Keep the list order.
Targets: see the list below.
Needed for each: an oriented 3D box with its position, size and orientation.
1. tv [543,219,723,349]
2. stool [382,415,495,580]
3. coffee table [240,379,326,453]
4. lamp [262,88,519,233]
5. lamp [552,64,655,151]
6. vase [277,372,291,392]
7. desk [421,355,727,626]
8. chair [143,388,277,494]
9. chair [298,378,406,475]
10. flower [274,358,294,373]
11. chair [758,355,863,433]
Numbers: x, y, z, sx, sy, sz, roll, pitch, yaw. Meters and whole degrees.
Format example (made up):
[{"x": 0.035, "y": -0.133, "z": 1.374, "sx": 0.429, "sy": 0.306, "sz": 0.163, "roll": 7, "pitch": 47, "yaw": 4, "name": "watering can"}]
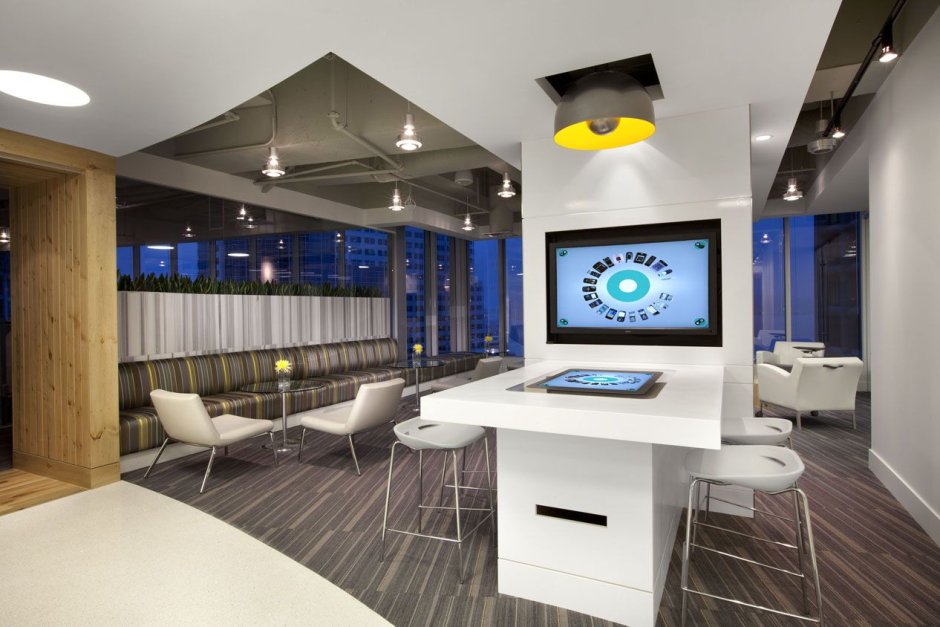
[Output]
[{"x": 1.460, "y": -0.271, "z": 4.865, "sx": 1.084, "sy": 0.780, "sz": 0.109, "roll": -1, "pitch": 3, "yaw": 21, "name": "tv"}, {"x": -0.255, "y": 1.472, "z": 4.868, "sx": 0.936, "sy": 1.102, "sz": 0.926, "roll": -1, "pitch": 1, "yaw": 40, "name": "stool"}, {"x": -2.122, "y": 1.095, "z": 6.786, "sx": 0.839, "sy": 0.651, "sz": 0.829, "roll": 1, "pitch": 8, "yaw": -8, "name": "coffee table"}, {"x": -1.265, "y": -1.959, "z": 6.627, "sx": 1.188, "sy": 0.390, "sz": 1.904, "roll": -5, "pitch": -10, "yaw": 26, "name": "lamp"}, {"x": 0.947, "y": -1.457, "z": 3.992, "sx": 0.623, "sy": 0.387, "sz": 0.641, "roll": 0, "pitch": 1, "yaw": 20, "name": "lamp"}, {"x": -2.117, "y": 0.756, "z": 6.454, "sx": 0.121, "sy": 0.231, "sz": 0.226, "roll": -3, "pitch": 9, "yaw": -21, "name": "vase"}, {"x": 0.808, "y": 1.247, "z": 4.081, "sx": 1.728, "sy": 1.221, "sz": 1.805, "roll": 0, "pitch": 2, "yaw": 25, "name": "desk"}, {"x": -2.721, "y": 1.200, "z": 5.969, "sx": 0.941, "sy": 0.903, "sz": 1.069, "roll": 1, "pitch": 4, "yaw": 34, "name": "chair"}, {"x": -1.279, "y": 1.163, "z": 6.363, "sx": 0.928, "sy": 0.905, "sz": 0.909, "roll": 3, "pitch": 4, "yaw": 31, "name": "chair"}, {"x": -2.340, "y": 0.636, "z": 7.092, "sx": 0.207, "sy": 0.126, "sz": 0.208, "roll": 3, "pitch": -4, "yaw": -31, "name": "flower"}, {"x": 4.335, "y": 0.954, "z": 7.470, "sx": 0.913, "sy": 0.997, "sz": 1.125, "roll": -1, "pitch": 0, "yaw": 2, "name": "chair"}]
